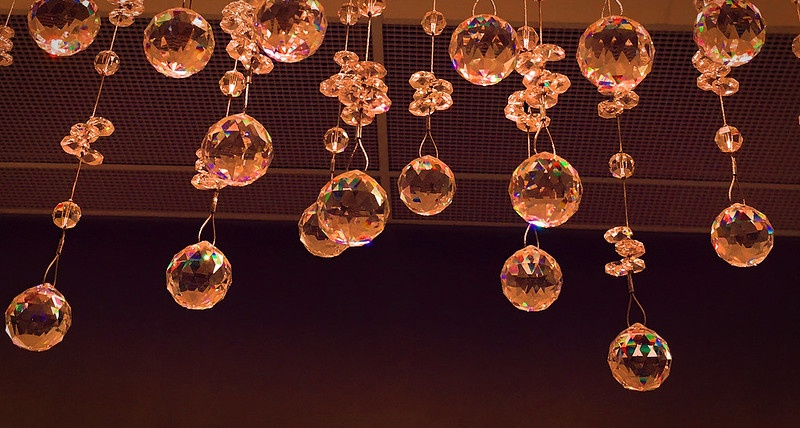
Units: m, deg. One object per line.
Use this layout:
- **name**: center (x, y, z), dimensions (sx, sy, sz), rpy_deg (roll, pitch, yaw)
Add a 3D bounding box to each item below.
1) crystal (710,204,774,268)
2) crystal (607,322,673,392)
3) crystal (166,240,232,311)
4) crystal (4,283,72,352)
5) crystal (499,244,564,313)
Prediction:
- **crystal**: center (1.912, 0.144, 4.446), dimensions (0.388, 0.355, 0.349), rpy_deg (2, -16, 0)
- **crystal**: center (1.315, 0.876, 4.820), dimensions (0.409, 0.402, 0.380), rpy_deg (4, -23, 0)
- **crystal**: center (-1.111, 0.332, 4.495), dimensions (0.328, 0.393, 0.293), rpy_deg (3, -38, 0)
- **crystal**: center (-2.077, 0.608, 4.656), dimensions (0.420, 0.406, 0.373), rpy_deg (4, -15, -4)
- **crystal**: center (0.734, 0.344, 4.527), dimensions (0.320, 0.369, 0.271), rpy_deg (0, -38, 5)
